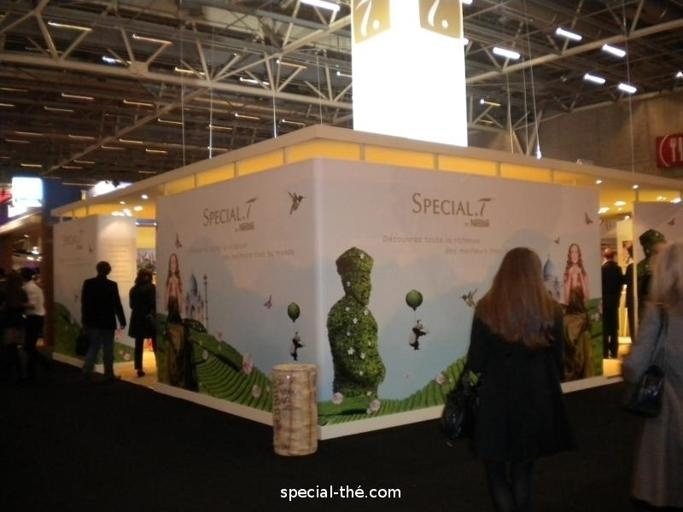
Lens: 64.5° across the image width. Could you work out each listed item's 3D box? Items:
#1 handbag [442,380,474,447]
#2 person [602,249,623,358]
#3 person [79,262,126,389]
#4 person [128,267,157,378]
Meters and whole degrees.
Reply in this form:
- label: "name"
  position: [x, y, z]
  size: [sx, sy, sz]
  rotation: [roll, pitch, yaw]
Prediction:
- label: "handbag"
  position: [0.769, 1.051, 3.659]
  size: [0.211, 0.407, 0.146]
  rotation: [15, -16, -6]
- label: "person"
  position: [4.727, 0.869, 9.407]
  size: [0.351, 1.951, 0.742]
  rotation: [0, 2, 28]
- label: "person"
  position: [-3.861, 1.083, 8.751]
  size: [0.811, 1.977, 0.478]
  rotation: [0, 2, 39]
- label: "person"
  position: [-3.418, 1.152, 9.375]
  size: [0.491, 1.838, 0.424]
  rotation: [-1, 2, -9]
